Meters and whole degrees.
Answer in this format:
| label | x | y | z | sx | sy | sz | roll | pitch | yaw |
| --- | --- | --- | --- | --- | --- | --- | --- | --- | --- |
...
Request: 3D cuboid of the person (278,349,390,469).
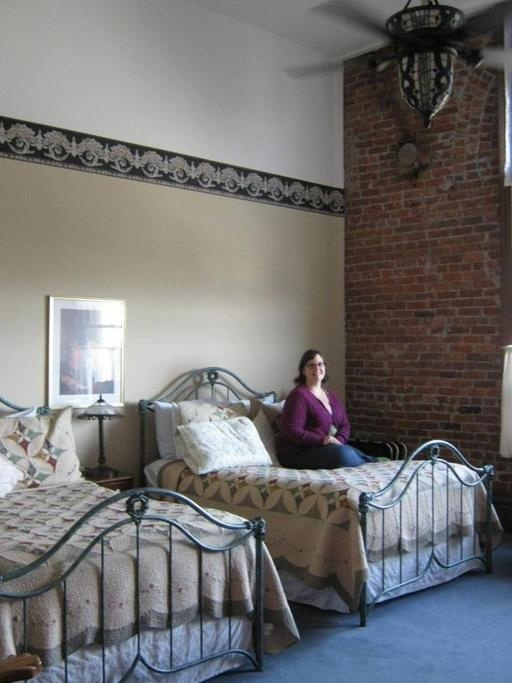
| label | x | y | z | sx | sy | sz | roll | pitch | yaw |
| --- | --- | --- | --- | --- | --- | --- | --- | --- | --- |
| person | 0.519 | 0.469 | 4.062 | 0.561 | 0.758 | 0.726 | 5 | -1 | -45 |
